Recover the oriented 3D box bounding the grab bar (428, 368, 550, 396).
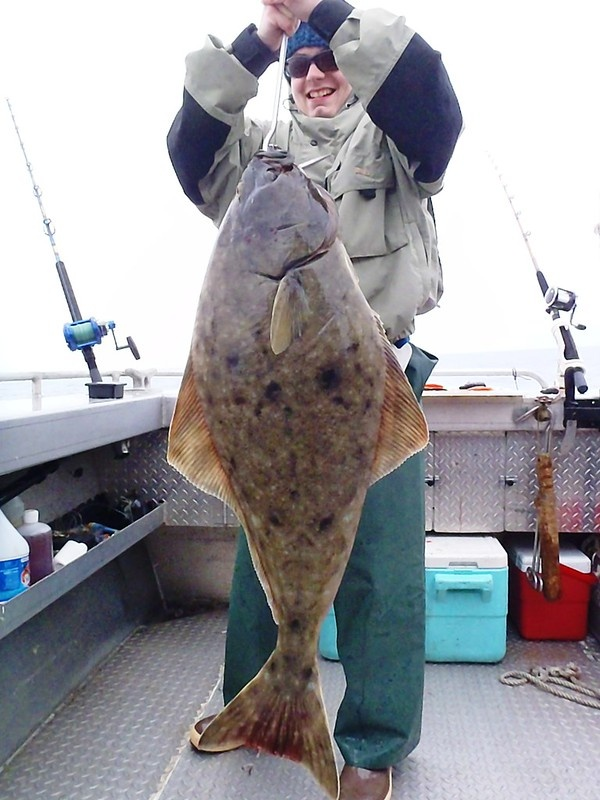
[{"bbox_3d":[0.979,-0.116,3.516,0.465,0.103,0.246,2,3,6],"label":"grab bar"}]

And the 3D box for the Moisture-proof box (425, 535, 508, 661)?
[{"bbox_3d":[0.624,0.902,3.026,0.406,0.446,0.694,2,-9,-6],"label":"Moisture-proof box"}]

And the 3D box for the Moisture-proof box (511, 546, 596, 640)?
[{"bbox_3d":[1.074,0.868,2.958,0.340,0.340,0.525,-2,-7,13],"label":"Moisture-proof box"}]

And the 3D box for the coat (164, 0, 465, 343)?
[{"bbox_3d":[0.161,-0.623,1.811,0.731,0.893,0.303,-3,19,18],"label":"coat"}]

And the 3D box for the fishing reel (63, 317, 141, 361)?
[{"bbox_3d":[-0.926,-0.281,3.186,0.360,0.197,0.175,-3,8,-24],"label":"fishing reel"}]

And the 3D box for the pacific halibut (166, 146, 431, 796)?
[{"bbox_3d":[-0.018,0.136,1.368,0.502,1.283,0.262,3,9,19],"label":"pacific halibut"}]
